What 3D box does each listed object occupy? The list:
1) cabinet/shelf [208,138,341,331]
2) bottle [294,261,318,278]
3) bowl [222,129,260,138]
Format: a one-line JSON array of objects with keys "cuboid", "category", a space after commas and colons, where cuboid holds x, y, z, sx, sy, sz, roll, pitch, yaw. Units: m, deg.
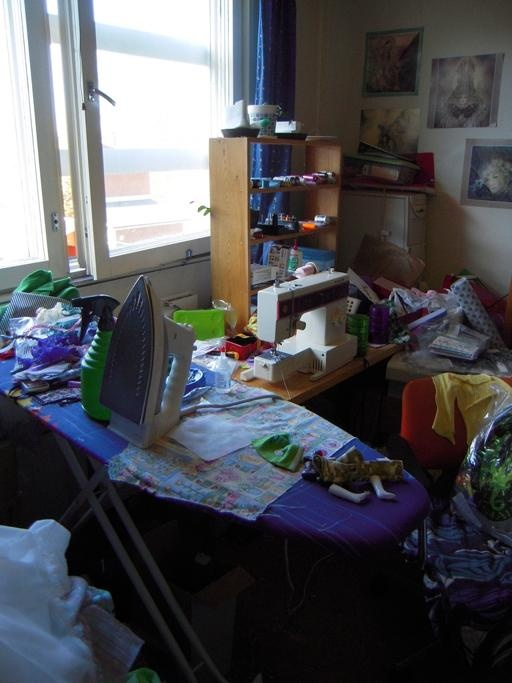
[{"cuboid": [0.068, -0.509, 2.451, 0.258, 1.098, 0.704, 19, 34, 29], "category": "cabinet/shelf"}, {"cuboid": [0.227, -0.304, 2.312, 0.123, 0.048, 0.072, -29, 38, -34], "category": "bottle"}, {"cuboid": [-0.070, -0.924, 2.330, 0.162, 0.042, 0.075, -3, 21, -2], "category": "bowl"}]
